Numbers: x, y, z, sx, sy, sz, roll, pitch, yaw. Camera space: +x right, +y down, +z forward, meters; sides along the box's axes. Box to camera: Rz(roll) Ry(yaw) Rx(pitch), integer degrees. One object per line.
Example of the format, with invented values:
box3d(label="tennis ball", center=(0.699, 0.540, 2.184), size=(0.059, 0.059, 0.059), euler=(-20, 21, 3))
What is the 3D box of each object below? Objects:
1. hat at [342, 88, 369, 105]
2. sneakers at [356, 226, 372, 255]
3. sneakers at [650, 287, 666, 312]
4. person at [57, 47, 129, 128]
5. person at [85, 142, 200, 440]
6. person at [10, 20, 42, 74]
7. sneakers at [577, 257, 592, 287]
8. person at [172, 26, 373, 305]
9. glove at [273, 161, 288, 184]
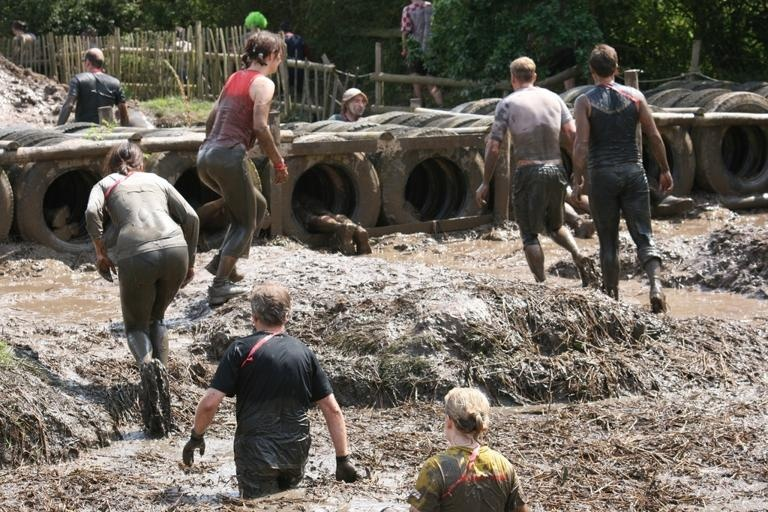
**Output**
box3d(label="hat", center=(-0.513, -2.726, 22.639), size=(0.463, 0.249, 0.365), euler=(0, 1, 17))
box3d(label="sneakers", center=(-0.322, -0.222, 20.264), size=(0.141, 0.387, 0.282), euler=(-28, 9, -16))
box3d(label="sneakers", center=(3.578, 0.582, 17.451), size=(0.219, 0.314, 0.273), euler=(-1, 7, 10))
box3d(label="person", center=(-4.728, -2.740, 21.720), size=(1.075, 1.250, 0.650), euler=(-3, 6, -12))
box3d(label="person", center=(-2.839, 0.382, 16.033), size=(1.262, 3.478, 0.813), euler=(-3, 6, -8))
box3d(label="person", center=(-9.745, -5.625, 36.261), size=(0.572, 1.041, 1.112), euler=(-6, 8, -35))
box3d(label="sneakers", center=(2.720, 0.189, 18.090), size=(0.206, 0.404, 0.098), euler=(-12, 21, -16))
box3d(label="person", center=(-1.834, -1.129, 17.397), size=(1.144, 3.525, 0.470), euler=(0, 6, 17))
box3d(label="glove", center=(-1.339, -1.083, 17.370), size=(0.216, 0.260, 0.121), euler=(-4, 0, -6))
